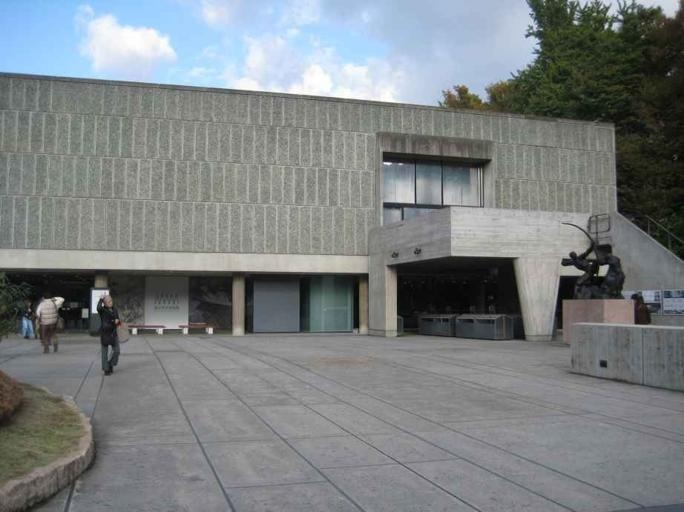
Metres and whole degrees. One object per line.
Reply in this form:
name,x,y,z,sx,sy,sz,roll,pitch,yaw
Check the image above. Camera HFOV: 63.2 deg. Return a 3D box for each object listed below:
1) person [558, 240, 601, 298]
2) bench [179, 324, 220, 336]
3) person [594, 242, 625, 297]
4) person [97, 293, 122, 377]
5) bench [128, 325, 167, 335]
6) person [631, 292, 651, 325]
person,10.310,0.296,23.948,1.769,1.205,1.129,53,-19,-27
bench,-9.102,4.483,34.349,1.738,0.533,4.835,1,-6,-19
person,10.857,0.720,22.508,0.935,2.064,1.536,-2,-5,24
person,-5.927,1.975,14.033,0.541,1.956,1.453,1,-5,-24
bench,-11.963,4.416,33.383,1.828,0.550,4.885,2,-6,-25
person,11.641,2.082,21.635,0.548,1.149,1.476,-2,-5,28
